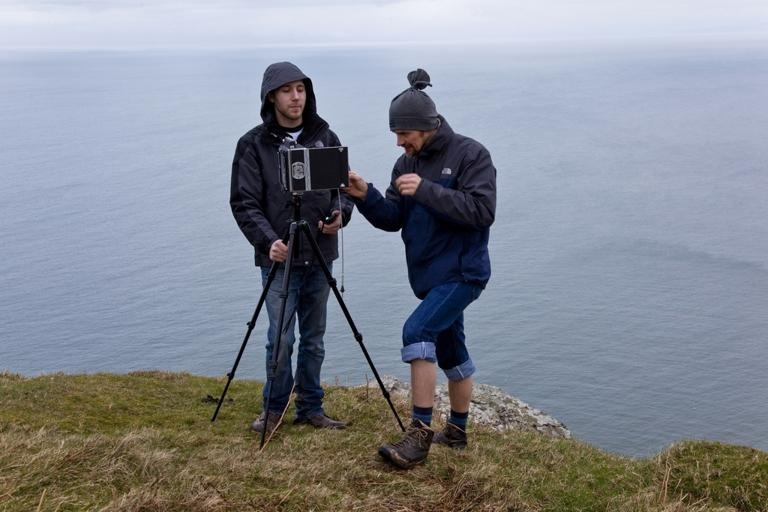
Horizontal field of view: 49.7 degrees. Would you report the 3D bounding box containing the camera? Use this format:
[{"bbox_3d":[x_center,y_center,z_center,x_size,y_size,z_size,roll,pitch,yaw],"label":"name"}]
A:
[{"bbox_3d":[-0.770,-1.018,9.214,0.642,0.420,0.614,-1,3,-26],"label":"camera"}]

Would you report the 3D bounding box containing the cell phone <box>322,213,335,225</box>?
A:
[{"bbox_3d":[-0.634,-0.415,9.573,0.128,0.042,0.128,-29,10,35],"label":"cell phone"}]
